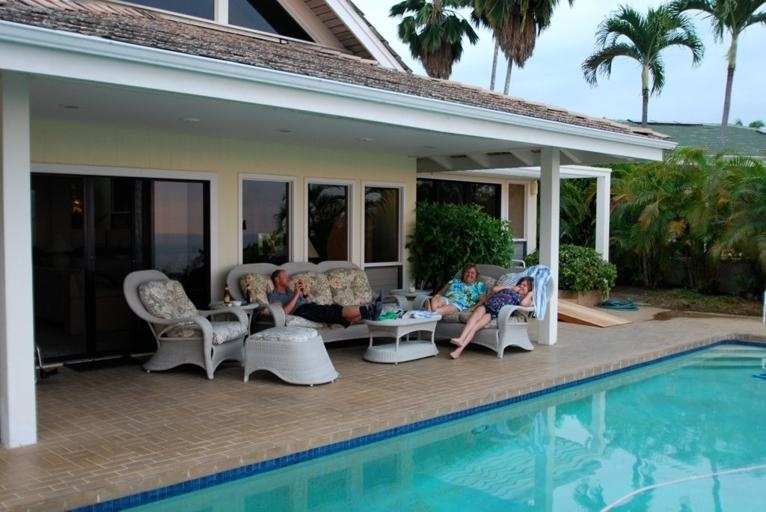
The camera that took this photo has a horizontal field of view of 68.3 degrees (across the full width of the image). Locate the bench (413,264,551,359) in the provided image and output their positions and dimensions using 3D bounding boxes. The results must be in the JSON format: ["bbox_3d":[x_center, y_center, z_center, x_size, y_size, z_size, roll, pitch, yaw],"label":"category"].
[{"bbox_3d":[1.817,0.836,9.708,2.003,1.378,1.352,4,8,39],"label":"bench"}]

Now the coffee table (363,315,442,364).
[{"bbox_3d":[0.309,1.327,9.101,0.762,0.637,1.406,0,-1,40],"label":"coffee table"}]

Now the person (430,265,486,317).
[{"bbox_3d":[1.359,0.582,9.863,0.598,0.509,1.262,25,23,37],"label":"person"}]

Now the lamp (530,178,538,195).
[{"bbox_3d":[4.463,-2.014,16.530,0.202,0.447,0.305,-4,5,-15],"label":"lamp"}]

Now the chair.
[{"bbox_3d":[-2.902,0.937,8.353,1.628,1.306,1.422,5,3,24],"label":"chair"}]

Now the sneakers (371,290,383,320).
[{"bbox_3d":[-0.076,0.763,8.753,0.170,0.376,0.221,12,-11,1],"label":"sneakers"}]

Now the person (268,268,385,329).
[{"bbox_3d":[-0.968,0.700,9.217,1.806,0.710,0.679,7,3,1],"label":"person"}]

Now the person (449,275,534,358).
[{"bbox_3d":[1.819,0.970,9.223,1.545,1.188,0.697,-5,5,-36],"label":"person"}]

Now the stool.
[{"bbox_3d":[-1.277,1.315,7.668,0.936,0.449,0.878,-2,-1,20],"label":"stool"}]
